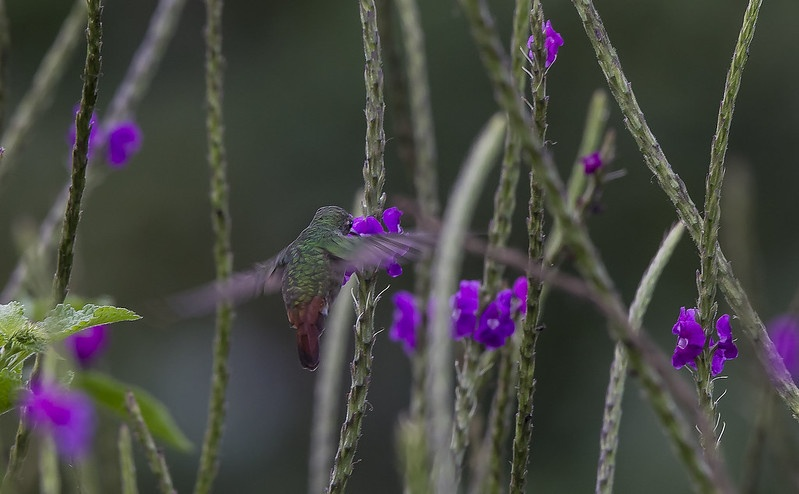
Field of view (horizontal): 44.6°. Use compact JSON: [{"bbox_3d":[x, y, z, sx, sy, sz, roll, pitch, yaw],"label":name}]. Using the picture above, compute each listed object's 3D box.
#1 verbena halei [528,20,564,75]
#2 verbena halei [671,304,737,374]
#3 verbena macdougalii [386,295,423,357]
[{"bbox_3d":[0.555,-0.787,3.753,0.086,0.309,0.128,5,4,26],"label":"verbena halei"},{"bbox_3d":[1.147,0.355,3.665,0.165,0.345,0.164,-5,8,-31],"label":"verbena halei"},{"bbox_3d":[0.028,0.328,4.326,0.124,0.356,0.094,4,-2,-21],"label":"verbena macdougalii"}]
